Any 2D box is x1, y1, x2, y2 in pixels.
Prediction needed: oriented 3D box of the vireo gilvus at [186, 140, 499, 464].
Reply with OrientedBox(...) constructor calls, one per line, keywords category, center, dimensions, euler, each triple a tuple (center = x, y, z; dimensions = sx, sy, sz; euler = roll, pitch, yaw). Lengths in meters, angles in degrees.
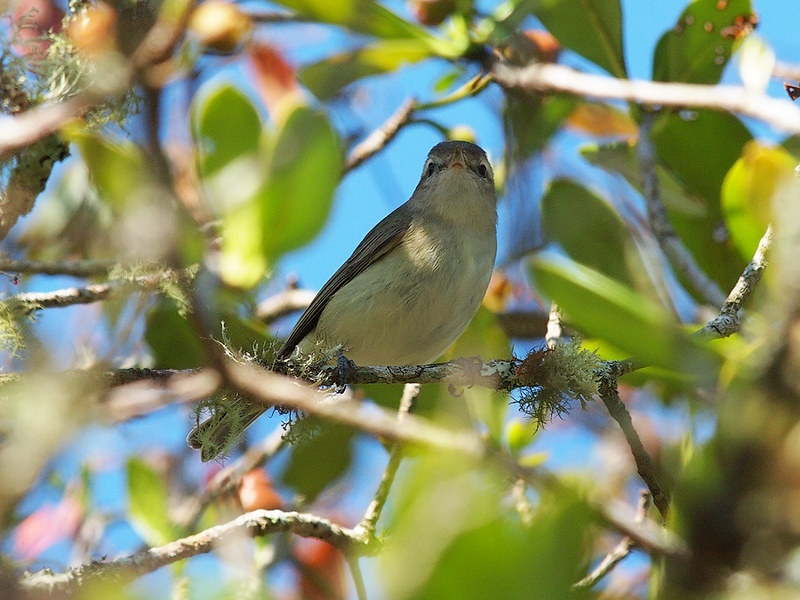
OrientedBox(category="vireo gilvus", center=(-0.238, 0.059, 3.424), dimensions=(1.220, 0.405, 0.751), euler=(-34, 46, 7))
